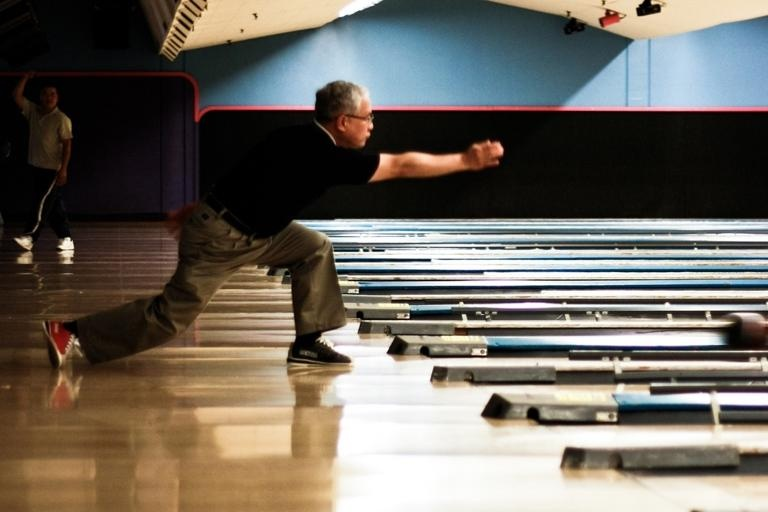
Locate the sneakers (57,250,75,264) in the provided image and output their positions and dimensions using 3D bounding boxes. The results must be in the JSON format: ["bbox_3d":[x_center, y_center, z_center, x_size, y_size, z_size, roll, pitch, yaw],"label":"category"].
[{"bbox_3d":[-3.346,0.012,6.421,0.127,0.103,0.117,0,2,-4],"label":"sneakers"}]

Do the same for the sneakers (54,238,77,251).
[{"bbox_3d":[-3.704,-0.123,7.159,0.157,0.165,0.374,2,-7,2],"label":"sneakers"}]

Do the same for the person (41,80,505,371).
[{"bbox_3d":[-0.508,-0.101,2.655,1.472,1.333,0.393,9,23,-8],"label":"person"}]

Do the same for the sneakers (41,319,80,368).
[{"bbox_3d":[-1.473,0.407,2.796,0.107,0.216,0.078,-19,16,-11],"label":"sneakers"}]

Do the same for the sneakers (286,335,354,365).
[{"bbox_3d":[-0.310,0.457,2.937,0.367,0.132,0.113,1,-3,-1],"label":"sneakers"}]

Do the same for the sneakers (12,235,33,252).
[{"bbox_3d":[-4.067,-0.142,6.898,0.177,0.122,0.233,48,9,8],"label":"sneakers"}]
